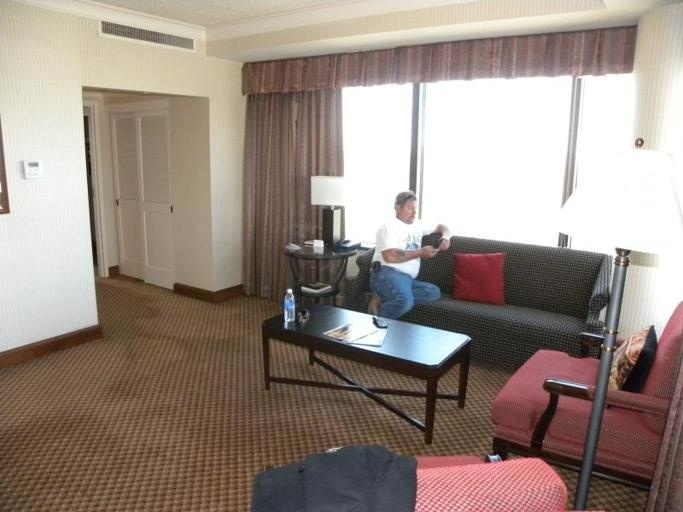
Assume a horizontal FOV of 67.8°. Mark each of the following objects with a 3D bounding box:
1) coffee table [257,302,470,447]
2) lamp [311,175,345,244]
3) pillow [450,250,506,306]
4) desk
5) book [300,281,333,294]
[{"bbox_3d":[0.199,0.862,3.961,1.431,0.646,0.681,7,15,26],"label":"coffee table"},{"bbox_3d":[-0.135,-0.500,5.586,0.350,0.758,0.365,0,14,0],"label":"lamp"},{"bbox_3d":[1.327,0.217,4.878,0.538,0.499,0.178,2,-6,20],"label":"pillow"},{"bbox_3d":[-0.248,0.183,5.701,0.729,0.751,0.730,2,8,10],"label":"desk"},{"bbox_3d":[-0.253,0.339,5.366,0.333,0.068,0.176,-1,13,-3],"label":"book"}]
